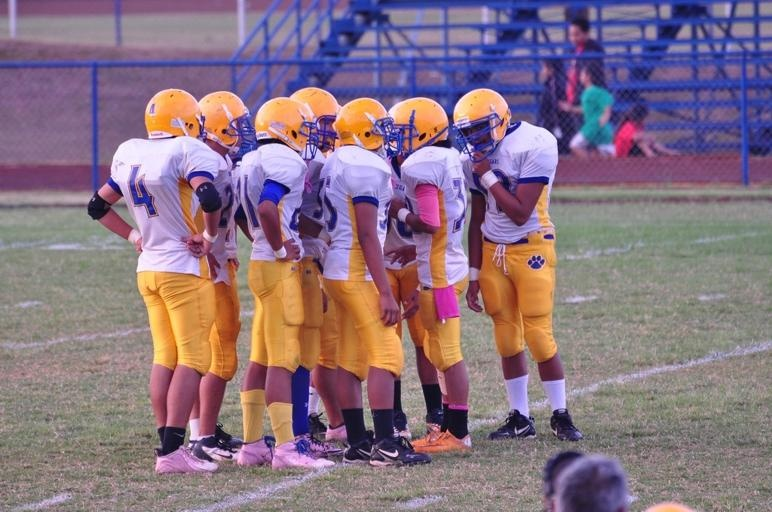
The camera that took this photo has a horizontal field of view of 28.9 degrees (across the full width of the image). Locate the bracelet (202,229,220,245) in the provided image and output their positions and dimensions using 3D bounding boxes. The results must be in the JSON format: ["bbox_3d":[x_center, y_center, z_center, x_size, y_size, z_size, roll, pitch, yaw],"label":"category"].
[{"bbox_3d":[-1.479,-0.173,12.566,0.077,0.103,0.106,-8,25,7],"label":"bracelet"}]

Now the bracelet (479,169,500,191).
[{"bbox_3d":[0.874,-0.664,12.986,0.197,0.163,0.101,-1,3,32],"label":"bracelet"}]

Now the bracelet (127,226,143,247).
[{"bbox_3d":[-2.175,-0.165,12.867,0.131,0.105,0.148,-6,-2,4],"label":"bracelet"}]

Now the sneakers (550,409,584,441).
[{"bbox_3d":[1.538,1.443,12.854,0.275,0.259,0.227,-2,3,6],"label":"sneakers"}]

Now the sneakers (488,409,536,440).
[{"bbox_3d":[1.007,1.461,12.885,0.510,0.237,0.173,1,-9,-8],"label":"sneakers"}]

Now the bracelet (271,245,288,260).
[{"bbox_3d":[-0.887,-0.026,12.499,0.110,0.079,0.102,0,8,-3],"label":"bracelet"}]

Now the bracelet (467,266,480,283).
[{"bbox_3d":[0.761,0.157,13.157,0.120,0.114,0.115,3,1,4],"label":"bracelet"}]

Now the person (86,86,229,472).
[{"bbox_3d":[-1.784,0.198,12.568,0.834,3.186,0.453,-3,3,-10],"label":"person"}]

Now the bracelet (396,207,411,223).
[{"bbox_3d":[0.141,-0.357,12.829,0.118,0.083,0.115,3,-6,-15],"label":"bracelet"}]
